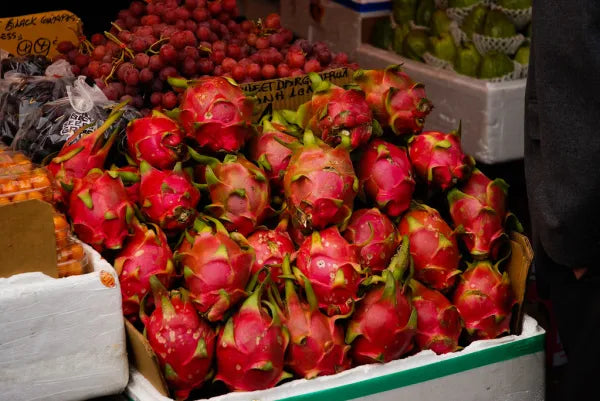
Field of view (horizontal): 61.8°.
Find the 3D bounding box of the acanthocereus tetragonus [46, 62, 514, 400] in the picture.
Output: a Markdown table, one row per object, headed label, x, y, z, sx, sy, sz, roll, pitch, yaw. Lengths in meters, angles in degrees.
| label | x | y | z | sx | sy | sz | roll | pitch | yaw |
| --- | --- | --- | --- | --- | --- | --- | --- | --- | --- |
| acanthocereus tetragonus | -0.025 | 0.245 | 1.714 | 1.101 | 0.377 | 1.297 | -10 | 58 | -12 |
